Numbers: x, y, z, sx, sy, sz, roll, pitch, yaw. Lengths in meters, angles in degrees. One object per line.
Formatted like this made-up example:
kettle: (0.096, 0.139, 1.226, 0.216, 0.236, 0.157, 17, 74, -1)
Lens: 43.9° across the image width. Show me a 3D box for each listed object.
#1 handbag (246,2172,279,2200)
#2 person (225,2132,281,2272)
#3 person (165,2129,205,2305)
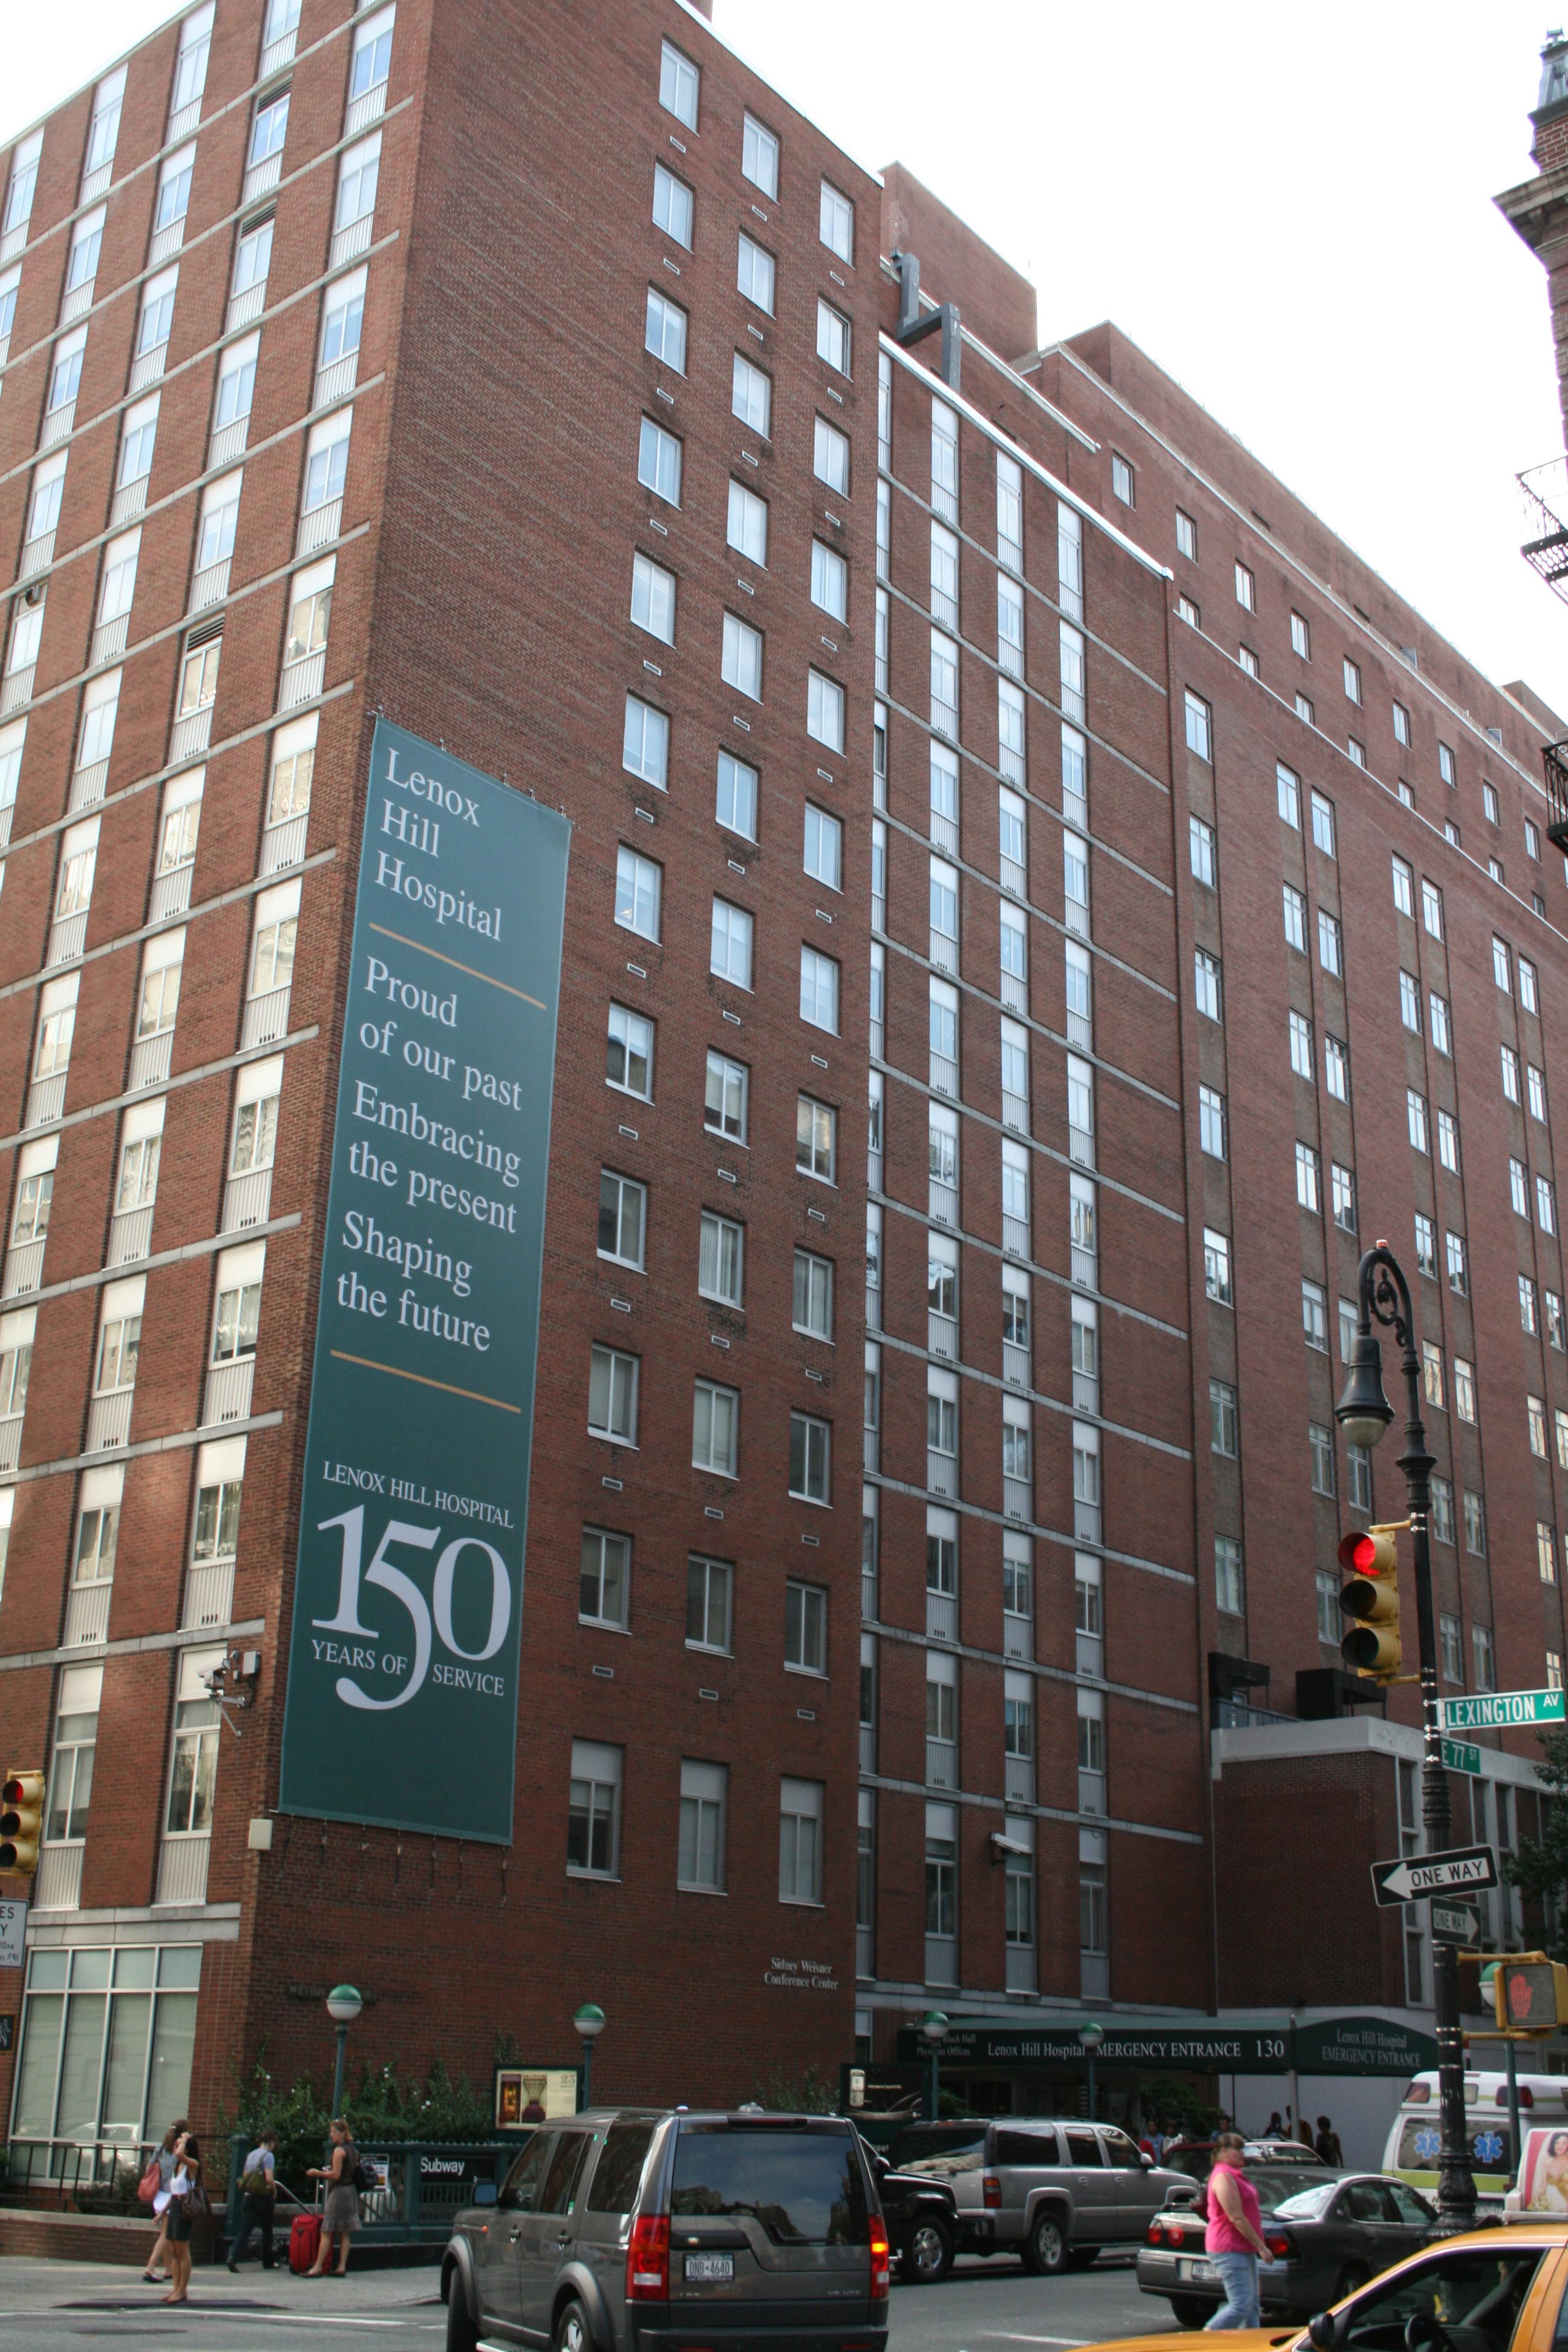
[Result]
handbag: (-6.666, 12.926, 24.825, 0.261, 0.302, 0.532, 0, -23, -2)
person: (-6.787, 13.222, 24.971, 0.594, 1.404, 1.437, 5, -23, -14)
person: (-6.283, 10.863, 20.308, 0.348, 1.542, 1.629, 5, -23, -15)
